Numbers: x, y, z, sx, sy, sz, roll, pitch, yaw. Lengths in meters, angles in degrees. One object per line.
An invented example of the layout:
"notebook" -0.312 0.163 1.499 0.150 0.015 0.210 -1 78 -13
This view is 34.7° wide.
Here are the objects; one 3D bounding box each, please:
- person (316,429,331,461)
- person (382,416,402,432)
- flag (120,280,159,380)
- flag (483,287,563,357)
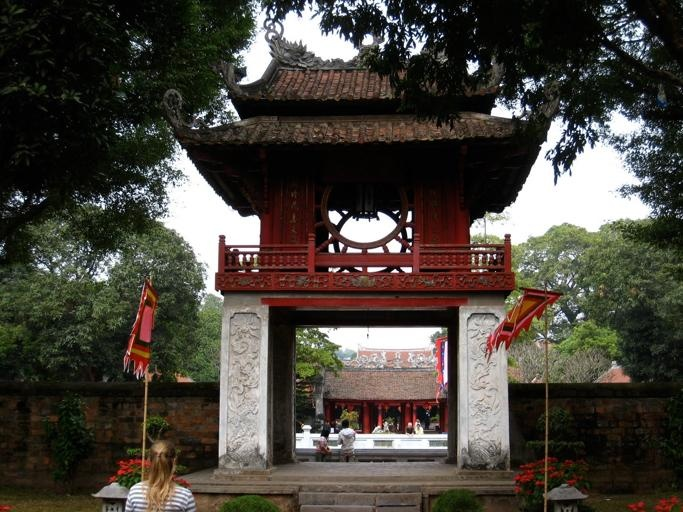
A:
"person" -0.528 5.164 30.165 0.365 0.934 0.857 1 -13 -1
"person" 1.990 6.799 44.034 0.694 0.743 0.711 5 -16 -8
"flag" -4.033 1.476 22.296 0.076 1.826 0.685 -5 -20 34
"flag" 3.645 1.356 22.489 1.454 0.126 1.721 5 -57 4
